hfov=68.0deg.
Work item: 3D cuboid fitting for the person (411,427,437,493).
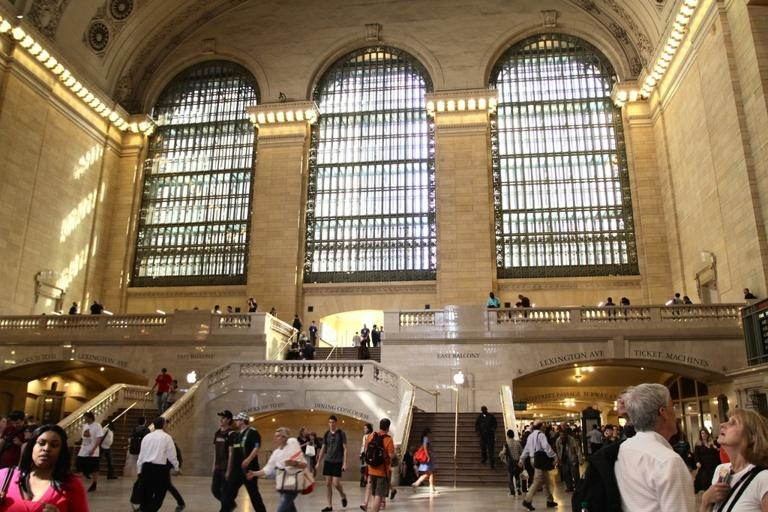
[{"bbox_3d":[0.997,5.161,14.389,0.727,1.516,0.471,7,-22,-21],"label":"person"}]

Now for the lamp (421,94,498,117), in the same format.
[{"bbox_3d":[4.235,-8.261,31.453,2.855,1.228,0.664,-1,14,5],"label":"lamp"}]

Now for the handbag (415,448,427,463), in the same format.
[{"bbox_3d":[0.916,4.939,14.093,0.327,0.339,0.237,-7,-19,20],"label":"handbag"}]

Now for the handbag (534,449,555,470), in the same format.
[{"bbox_3d":[3.371,4.315,12.059,0.534,0.440,0.172,-1,1,-37],"label":"handbag"}]

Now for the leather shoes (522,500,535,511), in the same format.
[{"bbox_3d":[3.044,5.257,11.974,0.157,0.184,0.472,-2,-23,41],"label":"leather shoes"}]

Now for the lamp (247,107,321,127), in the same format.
[{"bbox_3d":[-5.571,-7.641,31.323,3.508,0.655,0.833,-1,-18,2],"label":"lamp"}]

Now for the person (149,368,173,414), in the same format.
[{"bbox_3d":[-7.819,4.764,20.173,0.506,1.632,1.173,7,-20,-22],"label":"person"}]

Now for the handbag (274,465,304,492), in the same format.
[{"bbox_3d":[-1.439,3.431,8.754,0.470,0.602,0.184,2,-55,-4],"label":"handbag"}]

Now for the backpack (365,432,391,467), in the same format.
[{"bbox_3d":[-0.146,3.442,9.933,0.353,0.504,0.516,-5,-33,19],"label":"backpack"}]

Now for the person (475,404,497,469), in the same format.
[{"bbox_3d":[3.083,5.483,17.256,0.597,1.739,0.782,-3,-19,7],"label":"person"}]

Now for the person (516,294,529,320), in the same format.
[{"bbox_3d":[5.621,2.125,23.287,0.477,1.000,0.612,15,-18,-32],"label":"person"}]
